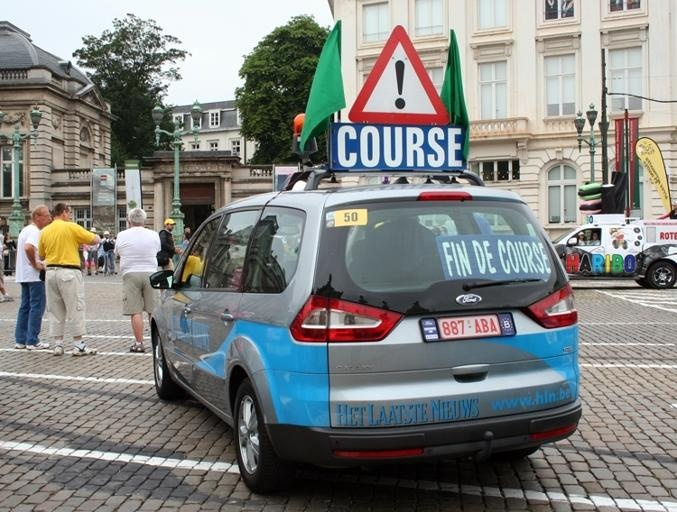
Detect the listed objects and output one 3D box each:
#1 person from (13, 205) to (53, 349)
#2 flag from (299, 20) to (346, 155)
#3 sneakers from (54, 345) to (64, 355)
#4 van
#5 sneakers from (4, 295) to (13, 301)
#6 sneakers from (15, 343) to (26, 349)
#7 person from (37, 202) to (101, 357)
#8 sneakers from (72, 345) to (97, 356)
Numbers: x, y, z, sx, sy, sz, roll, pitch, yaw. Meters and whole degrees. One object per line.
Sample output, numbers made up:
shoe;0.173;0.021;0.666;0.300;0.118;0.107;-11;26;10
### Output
person;-4.564;0.315;10.494;0.723;2.185;0.680;-2;-2;44
flag;-0.089;-1.646;6.324;0.348;1.490;0.154;-2;-24;12
sneakers;-3.935;1.334;9.683;0.086;0.098;0.213;1;3;-10
van;-0.113;0.430;5.296;1.724;1.493;2.935;-1;5;-23
sneakers;-8.919;1.138;18.671;0.293;0.105;0.128;6;-40;-43
sneakers;-4.753;1.356;10.276;0.065;0.083;0.181;6;8;-3
person;-3.771;0.322;9.624;0.760;2.157;0.891;-1;2;-25
sneakers;-3.548;1.345;9.696;0.374;0.201;0.155;-2;6;-20
